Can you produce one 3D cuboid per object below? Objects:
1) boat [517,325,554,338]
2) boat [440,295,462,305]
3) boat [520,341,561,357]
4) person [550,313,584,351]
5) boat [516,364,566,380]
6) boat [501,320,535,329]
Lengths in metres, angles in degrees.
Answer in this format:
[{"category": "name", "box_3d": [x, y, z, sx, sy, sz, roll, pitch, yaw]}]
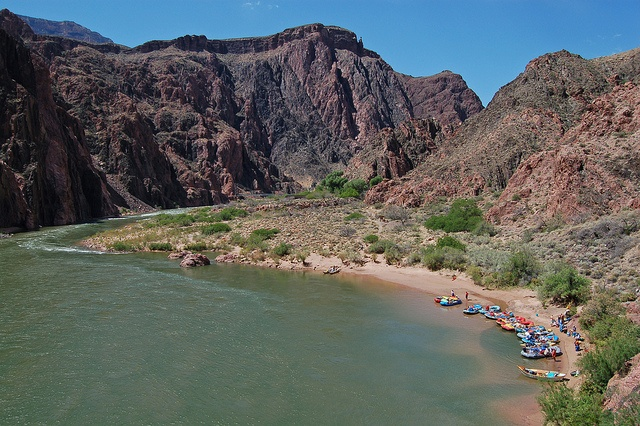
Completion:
[{"category": "boat", "box_3d": [14.222, 7.976, 34.298, 1.561, 0.322, 0.952, -2, 8, -18]}, {"category": "boat", "box_3d": [9.835, 6.687, 38.723, 1.011, 0.337, 0.765, -1, 5, -8]}, {"category": "boat", "box_3d": [14.036, 8.747, 32.561, 1.708, 0.255, 0.994, -7, 27, 4]}, {"category": "person", "box_3d": [16.412, 7.884, 33.912, 0.711, 0.665, 2.733, 8, 28, -12]}, {"category": "boat", "box_3d": [13.528, 9.878, 31.192, 2.510, 0.495, 0.850, 4, 13, 28]}, {"category": "boat", "box_3d": [13.504, 7.764, 35.177, 1.443, 0.298, 0.827, -4, 6, 13]}]
